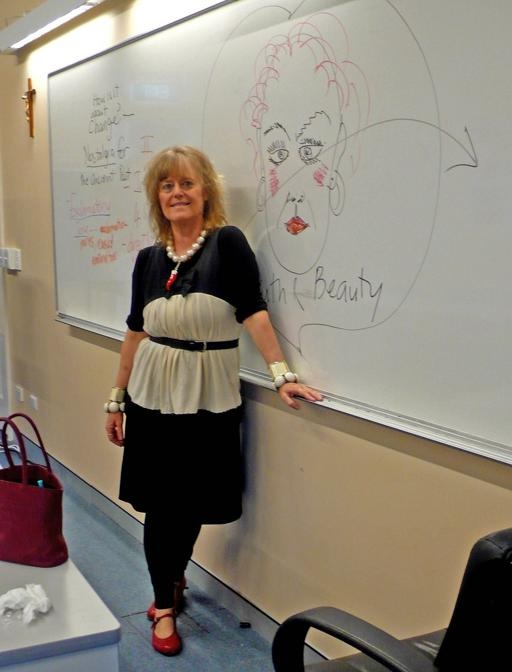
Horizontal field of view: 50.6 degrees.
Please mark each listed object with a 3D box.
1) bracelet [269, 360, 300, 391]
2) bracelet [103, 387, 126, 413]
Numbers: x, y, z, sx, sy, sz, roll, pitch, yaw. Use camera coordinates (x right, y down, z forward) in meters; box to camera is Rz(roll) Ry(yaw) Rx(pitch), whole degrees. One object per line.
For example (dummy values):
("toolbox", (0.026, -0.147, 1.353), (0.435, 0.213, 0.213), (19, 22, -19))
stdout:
("bracelet", (0.073, 0.107, 1.523), (0.066, 0.079, 0.039), (-20, -27, 4))
("bracelet", (-0.524, 0.242, 2.069), (0.093, 0.091, 0.094), (12, 5, -6))
